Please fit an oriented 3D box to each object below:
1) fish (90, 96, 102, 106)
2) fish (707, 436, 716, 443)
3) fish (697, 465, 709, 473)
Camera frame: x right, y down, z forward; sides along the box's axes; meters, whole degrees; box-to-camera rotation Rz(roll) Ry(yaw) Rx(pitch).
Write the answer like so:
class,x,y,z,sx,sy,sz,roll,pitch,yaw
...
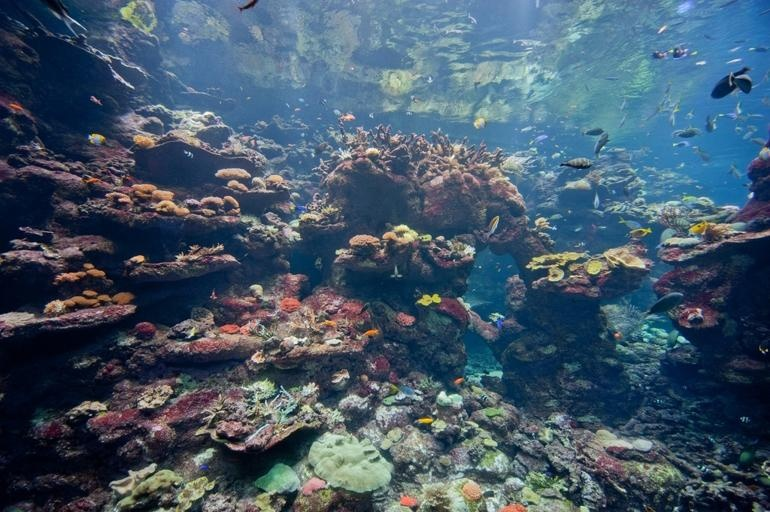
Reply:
class,x,y,z,sx,sy,sz,roll,pitch,yaw
fish,-16.554,-8.957,26.050,0.404,0.487,0.558,22,22,35
fish,16.797,9.404,23.324,0.331,0.219,0.347,14,17,20
fish,15.756,10.527,22.469,0.389,0.093,0.326,-17,11,10
